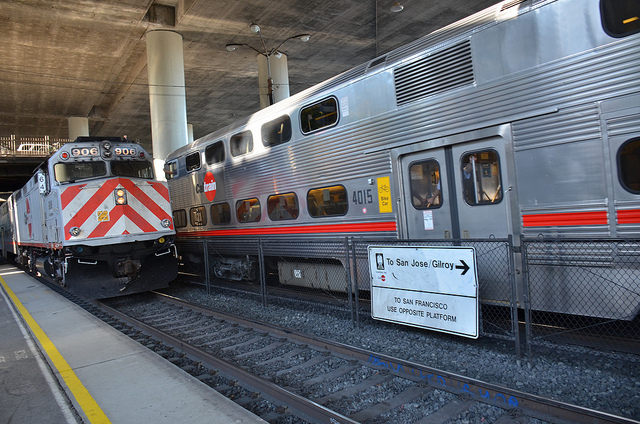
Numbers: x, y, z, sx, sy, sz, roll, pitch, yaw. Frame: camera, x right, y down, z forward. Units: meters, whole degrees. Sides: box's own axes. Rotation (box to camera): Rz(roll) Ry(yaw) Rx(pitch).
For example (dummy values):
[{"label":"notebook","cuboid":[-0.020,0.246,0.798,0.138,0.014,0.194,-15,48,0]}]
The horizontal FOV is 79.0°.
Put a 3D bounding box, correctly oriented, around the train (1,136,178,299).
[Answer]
[{"label":"train","cuboid":[-8.607,0.352,14.469,3.092,3.410,9.456,-1,-1,-34]}]
